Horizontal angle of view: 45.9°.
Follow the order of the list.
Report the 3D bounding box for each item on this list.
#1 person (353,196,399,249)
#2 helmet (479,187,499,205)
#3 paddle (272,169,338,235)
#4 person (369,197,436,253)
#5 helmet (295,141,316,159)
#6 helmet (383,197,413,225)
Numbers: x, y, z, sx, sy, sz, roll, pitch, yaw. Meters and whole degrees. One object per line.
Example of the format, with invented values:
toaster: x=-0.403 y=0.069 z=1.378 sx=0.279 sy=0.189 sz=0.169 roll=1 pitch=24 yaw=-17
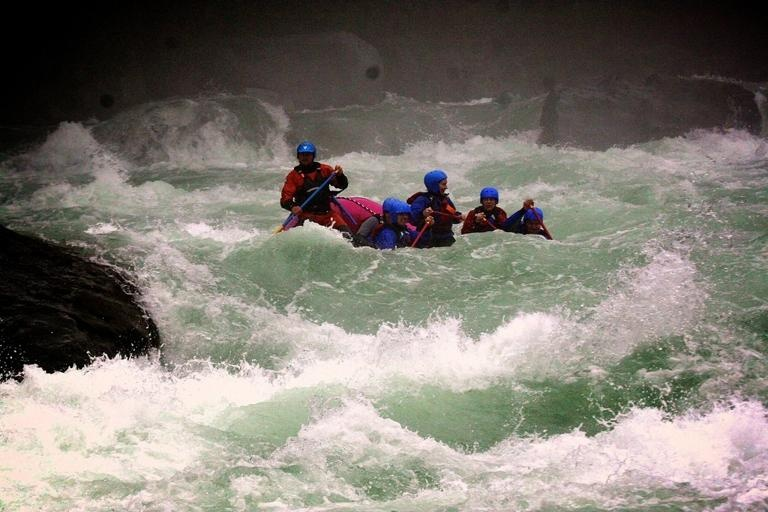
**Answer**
person: x=-0.202 y=-0.496 z=13.687 sx=0.398 sy=0.687 sz=0.875 roll=9 pitch=11 yaw=31
helmet: x=1.652 y=-0.970 z=14.267 sx=0.301 sy=0.226 sz=0.323 roll=1 pitch=-20 yaw=3
paddle: x=-1.235 y=-0.816 z=14.248 sx=1.665 sy=0.286 sz=0.144 roll=-44 pitch=13 yaw=-25
person: x=0.182 y=-0.291 z=13.913 sx=1.013 sy=1.084 sz=0.824 roll=-3 pitch=6 yaw=-44
helmet: x=-1.246 y=-1.671 z=14.430 sx=0.346 sy=0.329 sz=0.444 roll=-3 pitch=-6 yaw=-2
helmet: x=0.188 y=-0.684 z=13.949 sx=0.481 sy=0.385 sz=0.345 roll=-1 pitch=6 yaw=6
